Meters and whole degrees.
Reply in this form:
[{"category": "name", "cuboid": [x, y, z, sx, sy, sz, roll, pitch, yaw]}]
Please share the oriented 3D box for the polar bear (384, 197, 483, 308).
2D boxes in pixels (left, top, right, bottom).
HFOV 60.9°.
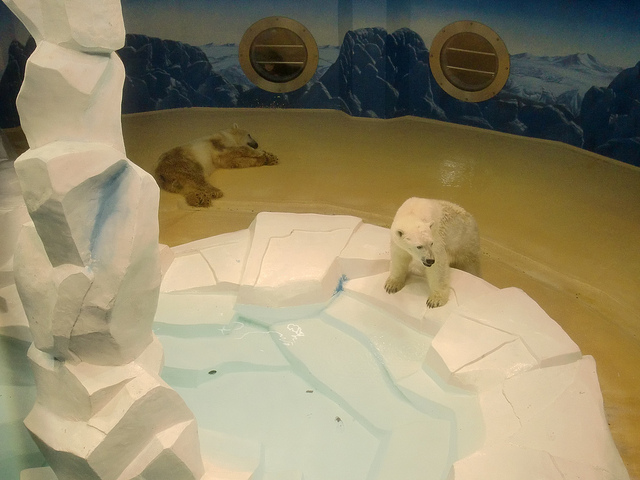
[{"category": "polar bear", "cuboid": [0.987, 0.151, 4.941, 0.702, 0.847, 0.901, 21, 27, 25]}]
